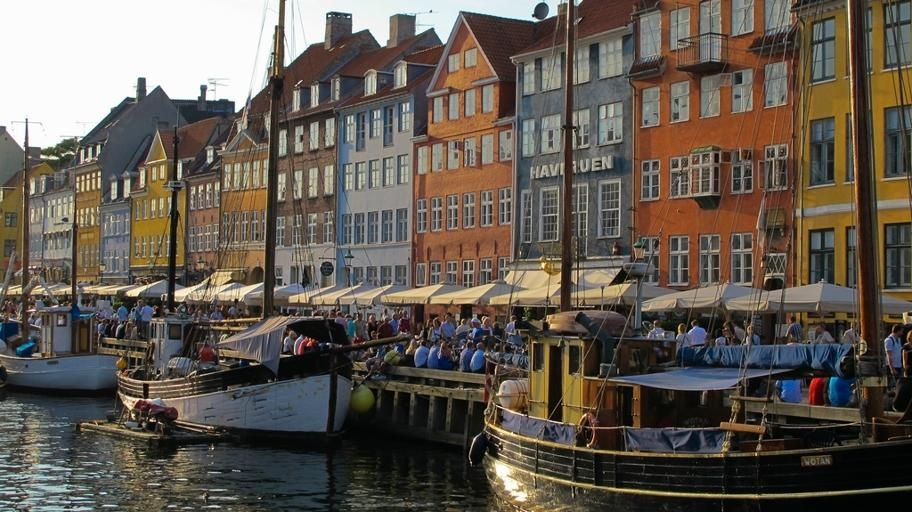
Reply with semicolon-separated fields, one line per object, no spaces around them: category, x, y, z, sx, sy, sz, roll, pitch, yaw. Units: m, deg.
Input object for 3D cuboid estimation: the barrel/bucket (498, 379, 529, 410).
barrel/bucket;2.409;6.036;72.428;1.256;1.305;1.668;-2;-4;38
